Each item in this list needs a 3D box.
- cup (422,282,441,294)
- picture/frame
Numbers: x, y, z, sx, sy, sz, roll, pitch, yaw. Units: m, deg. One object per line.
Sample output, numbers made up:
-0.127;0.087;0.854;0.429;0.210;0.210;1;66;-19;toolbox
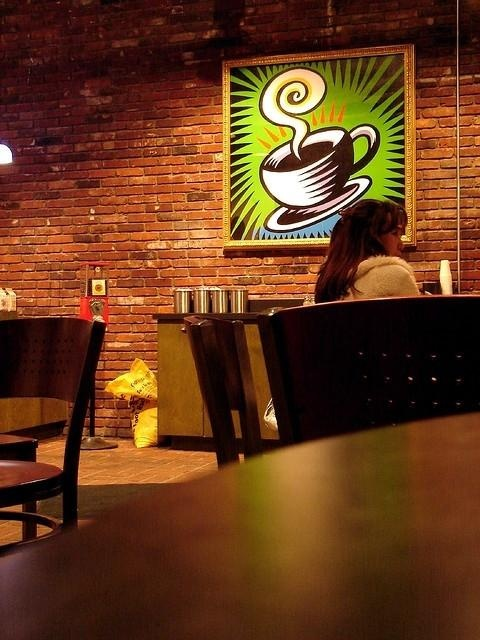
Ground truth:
1.423;-0.233;4.089;0.125;0.107;0.133;-1;0;0;cup
0.740;-1.489;4.704;1.943;2.144;0.156;-1;-3;14;picture/frame
